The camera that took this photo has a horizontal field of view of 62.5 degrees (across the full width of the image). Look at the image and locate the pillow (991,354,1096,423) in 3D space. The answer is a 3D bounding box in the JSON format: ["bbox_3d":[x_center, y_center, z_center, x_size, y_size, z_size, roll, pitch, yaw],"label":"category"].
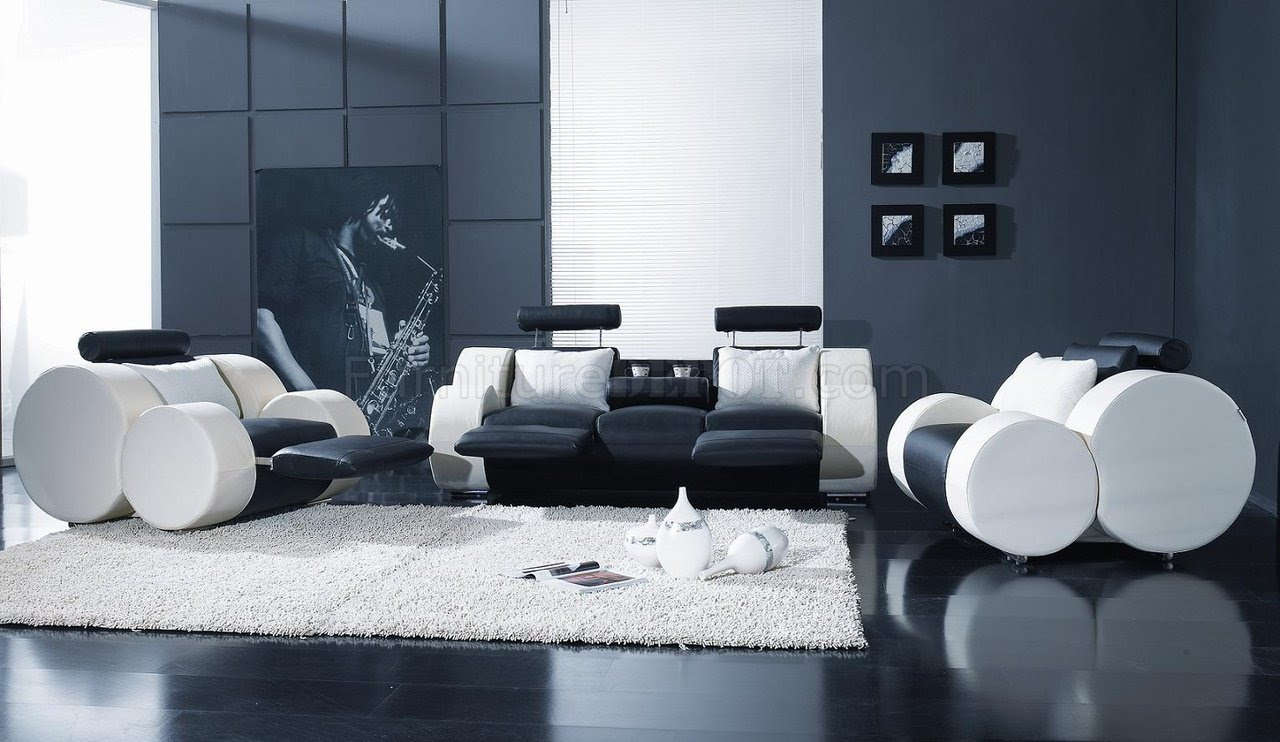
[{"bbox_3d":[2.675,0.098,6.829,0.168,0.421,0.605,27,-2,-11],"label":"pillow"}]

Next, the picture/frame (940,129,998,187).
[{"bbox_3d":[2.785,-1.785,8.836,0.512,0.477,0.036,-1,1,5],"label":"picture/frame"}]

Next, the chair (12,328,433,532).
[{"bbox_3d":[-2.929,0.424,7.259,2.263,1.074,1.543,2,1,17],"label":"chair"}]

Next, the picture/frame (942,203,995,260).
[{"bbox_3d":[2.779,-1.189,8.852,0.507,0.471,0.040,-1,3,4],"label":"picture/frame"}]

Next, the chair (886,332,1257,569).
[{"bbox_3d":[2.704,0.553,6.849,1.659,1.251,1.726,2,-1,-1],"label":"chair"}]

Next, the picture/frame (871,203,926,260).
[{"bbox_3d":[2.198,-1.189,8.899,0.516,0.481,0.039,0,2,6],"label":"picture/frame"}]

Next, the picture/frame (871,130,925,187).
[{"bbox_3d":[2.188,-1.783,8.879,0.493,0.459,0.036,-1,2,4],"label":"picture/frame"}]

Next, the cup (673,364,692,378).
[{"bbox_3d":[0.336,0.002,8.228,0.100,0.066,0.107,0,-7,0],"label":"cup"}]

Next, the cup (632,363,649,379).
[{"bbox_3d":[0.006,-0.003,8.231,0.110,0.068,0.108,-1,-3,0],"label":"cup"}]
